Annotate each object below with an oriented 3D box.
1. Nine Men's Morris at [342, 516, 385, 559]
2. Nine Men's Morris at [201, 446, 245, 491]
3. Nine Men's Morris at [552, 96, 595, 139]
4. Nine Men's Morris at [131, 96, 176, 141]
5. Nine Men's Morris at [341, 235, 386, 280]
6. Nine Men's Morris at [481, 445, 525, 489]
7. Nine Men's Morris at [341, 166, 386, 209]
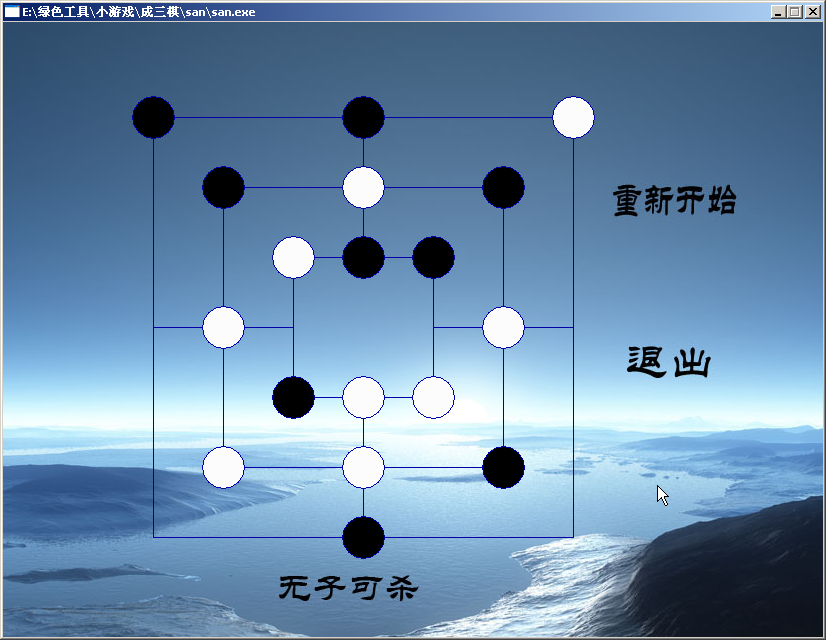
[{"bbox_3d":[-0.666,2.900,10.746,0.535,0.529,0.440,0,-43,2],"label":"Nine Men's Morris"},{"bbox_3d":[-2.567,1.993,10.978,0.510,0.487,0.470,8,-43,-6],"label":"Nine Men's Morris"},{"bbox_3d":[2.223,-2.797,11.245,0.499,0.620,0.409,-8,-44,11],"label":"Nine Men's Morris"},{"bbox_3d":[-3.581,-2.780,11.170,0.529,0.498,0.426,0,-43,3],"label":"Nine Men's Morris"},{"bbox_3d":[-0.668,-0.852,10.980,0.517,0.456,0.473,14,-44,-12],"label":"Nine Men's Morris"},{"bbox_3d":[1.204,1.962,10.786,0.475,0.479,0.473,17,-44,-15],"label":"Nine Men's Morris"},{"bbox_3d":[-0.681,-1.825,11.188,0.510,0.549,0.490,12,-43,-10],"label":"Nine Men's Morris"}]
